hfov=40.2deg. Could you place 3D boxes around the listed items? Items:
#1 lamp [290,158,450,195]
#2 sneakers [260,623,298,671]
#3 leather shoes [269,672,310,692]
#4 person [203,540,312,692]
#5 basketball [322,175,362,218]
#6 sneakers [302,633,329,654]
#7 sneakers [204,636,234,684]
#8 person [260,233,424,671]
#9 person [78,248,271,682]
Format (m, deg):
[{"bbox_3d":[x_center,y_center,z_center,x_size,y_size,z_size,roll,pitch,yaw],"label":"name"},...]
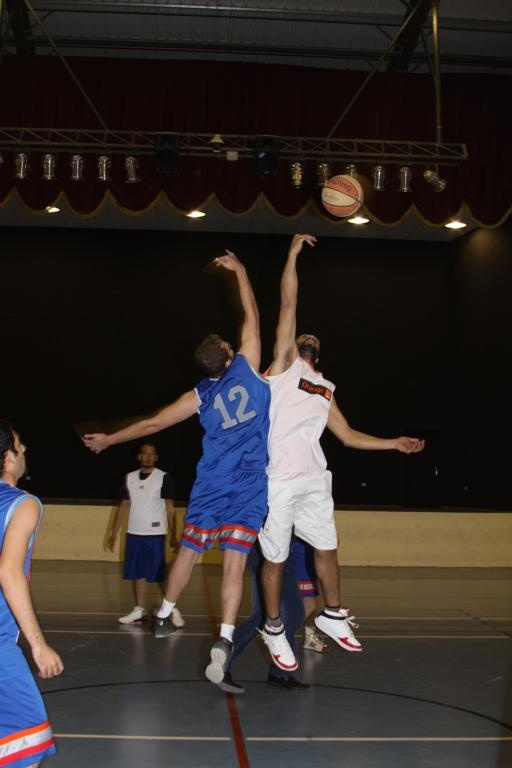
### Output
[{"bbox_3d":[1.131,-2.075,7.032,1.580,0.315,0.377,2,-7,-3],"label":"lamp"},{"bbox_3d":[0.112,1.226,3.266,0.200,0.226,0.140,6,-8,-34],"label":"sneakers"},{"bbox_3d":[0.153,1.383,3.261,0.184,0.071,0.066,-1,-6,17],"label":"leather shoes"},{"bbox_3d":[0.021,1.118,3.548,0.417,1.096,0.330,1,22,1],"label":"person"},{"bbox_3d":[0.695,-1.562,5.707,0.308,0.397,0.242,1,-7,5],"label":"basketball"},{"bbox_3d":[0.346,1.507,4.075,0.062,0.073,0.180,5,-13,-26],"label":"sneakers"},{"bbox_3d":[-0.164,1.150,2.913,0.085,0.221,0.096,14,26,13],"label":"sneakers"},{"bbox_3d":[0.223,0.290,3.514,0.547,2.143,0.256,8,-9,-43],"label":"person"},{"bbox_3d":[-0.257,0.318,3.442,0.562,2.044,0.961,5,-8,-28],"label":"person"}]
